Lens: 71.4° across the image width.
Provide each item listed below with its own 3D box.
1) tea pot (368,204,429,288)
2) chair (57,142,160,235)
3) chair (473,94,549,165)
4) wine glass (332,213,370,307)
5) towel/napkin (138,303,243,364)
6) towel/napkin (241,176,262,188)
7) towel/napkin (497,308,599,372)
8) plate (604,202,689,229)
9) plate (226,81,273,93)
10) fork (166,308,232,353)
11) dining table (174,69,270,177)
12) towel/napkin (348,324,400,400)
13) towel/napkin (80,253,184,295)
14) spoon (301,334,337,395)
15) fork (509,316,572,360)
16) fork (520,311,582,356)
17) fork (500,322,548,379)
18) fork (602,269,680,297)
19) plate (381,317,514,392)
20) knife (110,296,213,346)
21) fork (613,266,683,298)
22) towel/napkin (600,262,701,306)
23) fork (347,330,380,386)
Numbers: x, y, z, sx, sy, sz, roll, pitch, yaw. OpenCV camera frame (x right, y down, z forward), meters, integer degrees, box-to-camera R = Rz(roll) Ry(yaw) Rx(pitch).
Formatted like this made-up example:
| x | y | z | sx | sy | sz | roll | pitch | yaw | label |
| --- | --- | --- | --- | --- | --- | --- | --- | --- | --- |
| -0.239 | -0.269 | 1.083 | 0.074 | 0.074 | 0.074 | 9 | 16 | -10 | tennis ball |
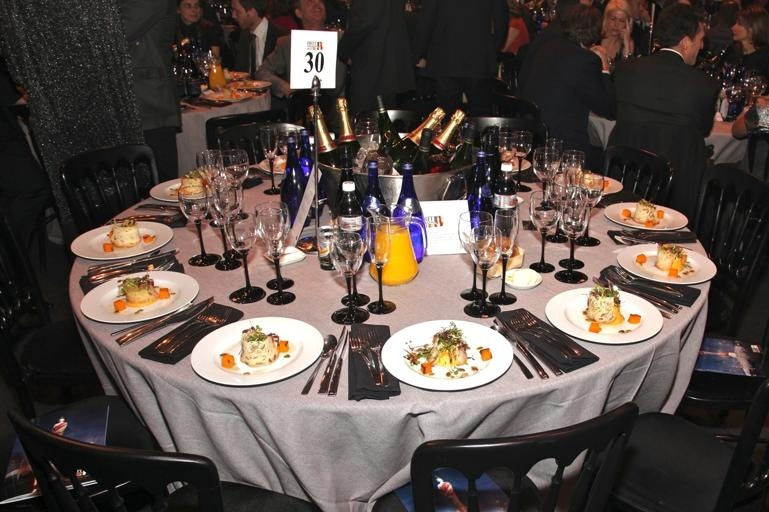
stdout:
| x | y | z | sx | sy | sz | roll | pitch | yaw | label |
| --- | --- | --- | --- | --- | --- | --- | --- | --- | --- |
| 0.056 | -0.031 | 2.024 | 0.277 | 0.279 | 0.205 | -5 | 14 | -26 | tea pot |
| -1.446 | -0.396 | 3.061 | 0.406 | 0.548 | 0.410 | 5 | 22 | 43 | chair |
| 0.842 | -0.972 | 3.850 | 0.490 | 0.687 | 0.557 | 0 | 34 | 5 | chair |
| -0.119 | 0.016 | 2.008 | 0.133 | 0.342 | 0.126 | -9 | 14 | -28 | wine glass |
| -0.643 | 0.263 | 1.773 | 0.193 | 0.020 | 0.192 | 8 | 34 | 31 | towel/napkin |
| -0.691 | -0.381 | 2.784 | 0.082 | 0.033 | 0.080 | -8 | 28 | -21 | towel/napkin |
| 0.511 | 0.229 | 1.690 | 0.137 | 0.031 | 0.278 | -19 | 41 | -24 | towel/napkin |
| 1.168 | -0.182 | 2.418 | 0.218 | 0.021 | 0.210 | -1 | 28 | -2 | plate |
| -1.227 | -1.570 | 4.917 | 0.282 | 0.035 | 0.274 | 3 | 29 | 0 | plate |
| -0.623 | 0.245 | 1.796 | 0.075 | 0.027 | 0.211 | 17 | 43 | 24 | fork |
| -1.294 | -1.111 | 4.528 | 0.762 | 0.725 | 0.744 | -4 | 34 | -10 | dining table |
| -0.046 | 0.312 | 1.687 | 0.150 | 0.036 | 0.276 | -3 | 30 | 0 | towel/napkin |
| -0.989 | 0.050 | 2.105 | 0.328 | 0.026 | 0.158 | -18 | 40 | -27 | towel/napkin |
| -0.193 | 0.319 | 1.645 | 0.044 | 0.032 | 0.239 | 3 | 20 | 11 | spoon |
| 0.506 | 0.268 | 1.731 | 0.090 | 0.022 | 0.224 | -18 | 36 | -23 | fork |
| 0.526 | 0.259 | 1.752 | 0.059 | 0.036 | 0.246 | -18 | 43 | -31 | fork |
| 0.443 | 0.305 | 1.696 | 0.043 | 0.038 | 0.312 | -26 | 35 | -7 | fork |
| 0.936 | 0.106 | 1.948 | 0.189 | 0.027 | 0.027 | 20 | 56 | 21 | fork |
| 0.193 | 0.304 | 1.666 | 0.403 | 0.098 | 0.260 | 0 | 24 | -1 | plate |
| -0.728 | 0.227 | 1.855 | 0.404 | 0.017 | 0.106 | -25 | 47 | -38 | knife |
| 0.930 | 0.107 | 1.967 | 0.284 | 0.033 | 0.085 | 16 | 42 | 33 | fork |
| 0.942 | 0.129 | 1.986 | 0.375 | 0.044 | 0.123 | 20 | 45 | 22 | towel/napkin |
| -0.059 | 0.322 | 1.664 | 0.052 | 0.027 | 0.190 | 6 | 38 | -26 | fork |
